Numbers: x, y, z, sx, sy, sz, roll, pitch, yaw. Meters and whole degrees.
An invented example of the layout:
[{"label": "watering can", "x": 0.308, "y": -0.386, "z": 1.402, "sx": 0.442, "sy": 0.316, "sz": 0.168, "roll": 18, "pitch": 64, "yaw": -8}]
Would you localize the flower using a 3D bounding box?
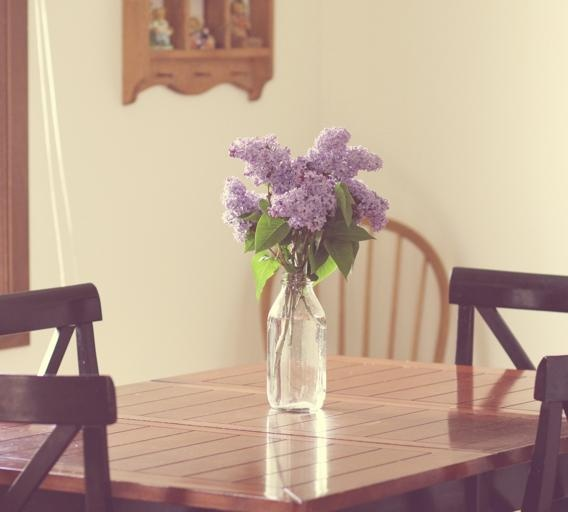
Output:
[{"label": "flower", "x": 0.007, "y": 0.016, "z": 1.177, "sx": 0.208, "sy": 0.500, "sz": 0.258, "roll": -11, "pitch": 9, "yaw": -27}]
